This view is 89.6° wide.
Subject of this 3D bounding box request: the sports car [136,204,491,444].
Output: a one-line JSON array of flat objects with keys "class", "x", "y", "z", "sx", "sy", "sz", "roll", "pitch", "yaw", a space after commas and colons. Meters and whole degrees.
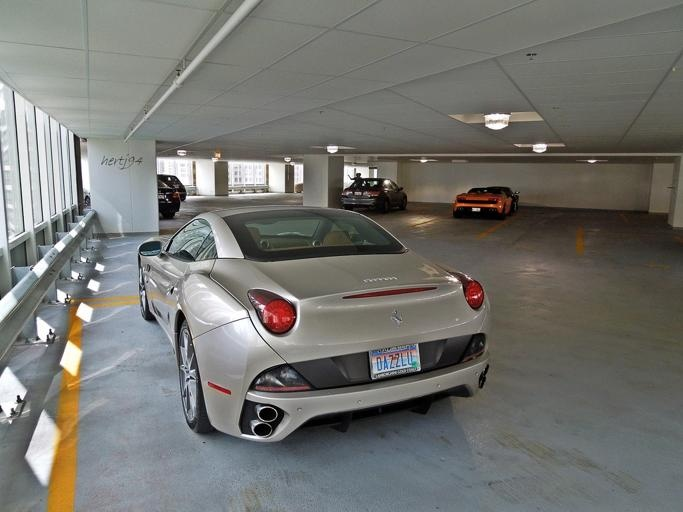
[{"class": "sports car", "x": -0.582, "y": 0.161, "z": 2.970, "sx": 1.525, "sy": 0.906, "sz": 2.758, "roll": -4, "pitch": 13, "yaw": -27}]
